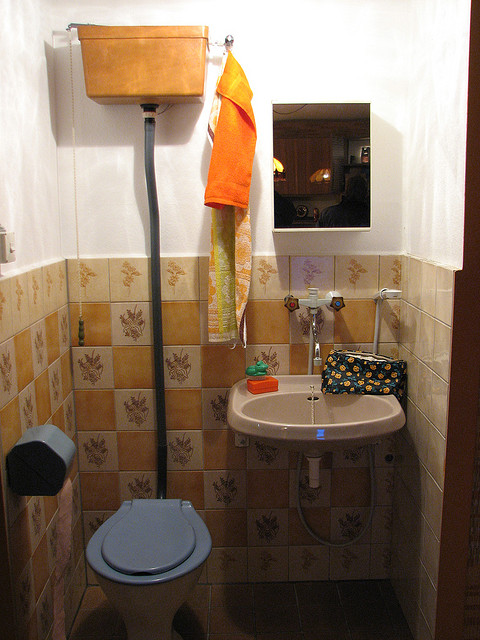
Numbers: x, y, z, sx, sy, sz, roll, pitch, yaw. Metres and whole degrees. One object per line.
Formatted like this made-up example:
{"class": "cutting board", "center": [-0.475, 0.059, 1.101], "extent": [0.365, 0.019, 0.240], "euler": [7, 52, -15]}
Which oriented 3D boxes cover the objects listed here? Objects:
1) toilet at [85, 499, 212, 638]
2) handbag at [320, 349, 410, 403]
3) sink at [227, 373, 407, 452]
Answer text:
{"class": "toilet", "center": [-0.247, 0.599, 1.442], "extent": [0.218, 0.377, 0.349], "euler": [-1, 9, -1]}
{"class": "handbag", "center": [0.396, 0.164, 1.677], "extent": [0.176, 0.088, 0.196], "euler": [2, 55, 2]}
{"class": "sink", "center": [0.239, 0.311, 1.607], "extent": [0.558, 0.230, 0.440], "euler": [0, 6, 3]}
